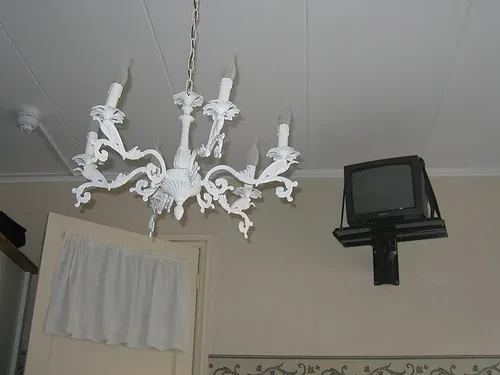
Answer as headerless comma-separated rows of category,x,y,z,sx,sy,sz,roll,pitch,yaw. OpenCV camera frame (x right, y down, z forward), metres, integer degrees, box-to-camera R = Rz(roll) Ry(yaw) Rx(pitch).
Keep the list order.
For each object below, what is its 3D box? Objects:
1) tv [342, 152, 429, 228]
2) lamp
tv,0.962,0.057,3.341,0.682,0.674,0.437,-8,-20,24
lamp,-0.385,-0.483,2.907,0.899,1.324,0.878,-4,-38,7
